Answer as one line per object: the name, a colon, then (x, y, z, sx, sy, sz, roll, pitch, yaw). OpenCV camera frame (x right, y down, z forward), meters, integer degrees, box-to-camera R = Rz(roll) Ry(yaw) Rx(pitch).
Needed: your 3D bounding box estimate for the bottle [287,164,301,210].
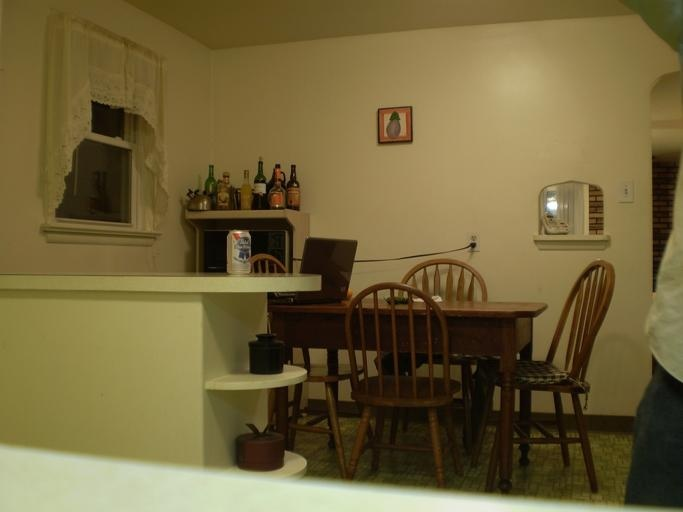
bottle: (-0.376, -0.533, 4.405, 0.102, 0.363, 0.215, -6, 0, 2)

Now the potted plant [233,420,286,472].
potted plant: (-0.303, 0.672, 2.097, 0.154, 0.149, 0.164, 0, -4, -6)

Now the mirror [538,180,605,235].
mirror: (1.626, -0.341, 3.987, 0.333, 0.375, 0.036, 1, 2, 21)

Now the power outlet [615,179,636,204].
power outlet: (1.940, -0.435, 3.871, 0.143, 0.265, 0.026, 0, -1, 18)

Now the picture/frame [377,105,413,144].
picture/frame: (0.416, -0.987, 4.278, 0.251, 0.271, 0.039, 1, -1, 9)

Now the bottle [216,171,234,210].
bottle: (-0.897, -0.490, 4.348, 0.133, 0.286, 0.092, -7, 0, -14)

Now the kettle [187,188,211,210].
kettle: (-1.119, -0.421, 4.432, 0.163, 0.185, 0.175, -1, -3, -3)

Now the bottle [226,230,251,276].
bottle: (-0.388, -0.015, 2.137, 0.095, 0.166, 0.092, -7, 0, 0)

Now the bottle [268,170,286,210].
bottle: (-0.495, -0.502, 4.295, 0.143, 0.312, 0.211, -7, 0, -10)

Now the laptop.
laptop: (-0.158, 0.075, 3.153, 0.339, 0.344, 0.431, 2, 1, 32)
